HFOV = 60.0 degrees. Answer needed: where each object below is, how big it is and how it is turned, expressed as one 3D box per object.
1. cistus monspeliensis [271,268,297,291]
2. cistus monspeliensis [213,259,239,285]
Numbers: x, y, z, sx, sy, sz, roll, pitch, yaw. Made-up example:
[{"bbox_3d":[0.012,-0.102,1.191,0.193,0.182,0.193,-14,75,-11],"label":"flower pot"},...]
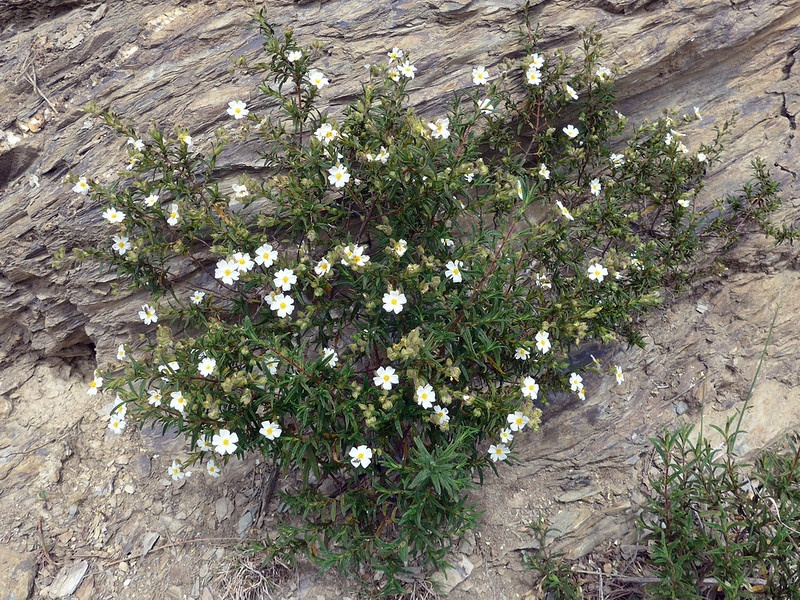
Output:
[{"bbox_3d":[-0.870,-0.147,5.291,0.176,0.142,0.139,-37,42,4],"label":"cistus monspeliensis"},{"bbox_3d":[-1.290,-0.220,5.288,0.158,0.208,0.061,1,7,5],"label":"cistus monspeliensis"}]
